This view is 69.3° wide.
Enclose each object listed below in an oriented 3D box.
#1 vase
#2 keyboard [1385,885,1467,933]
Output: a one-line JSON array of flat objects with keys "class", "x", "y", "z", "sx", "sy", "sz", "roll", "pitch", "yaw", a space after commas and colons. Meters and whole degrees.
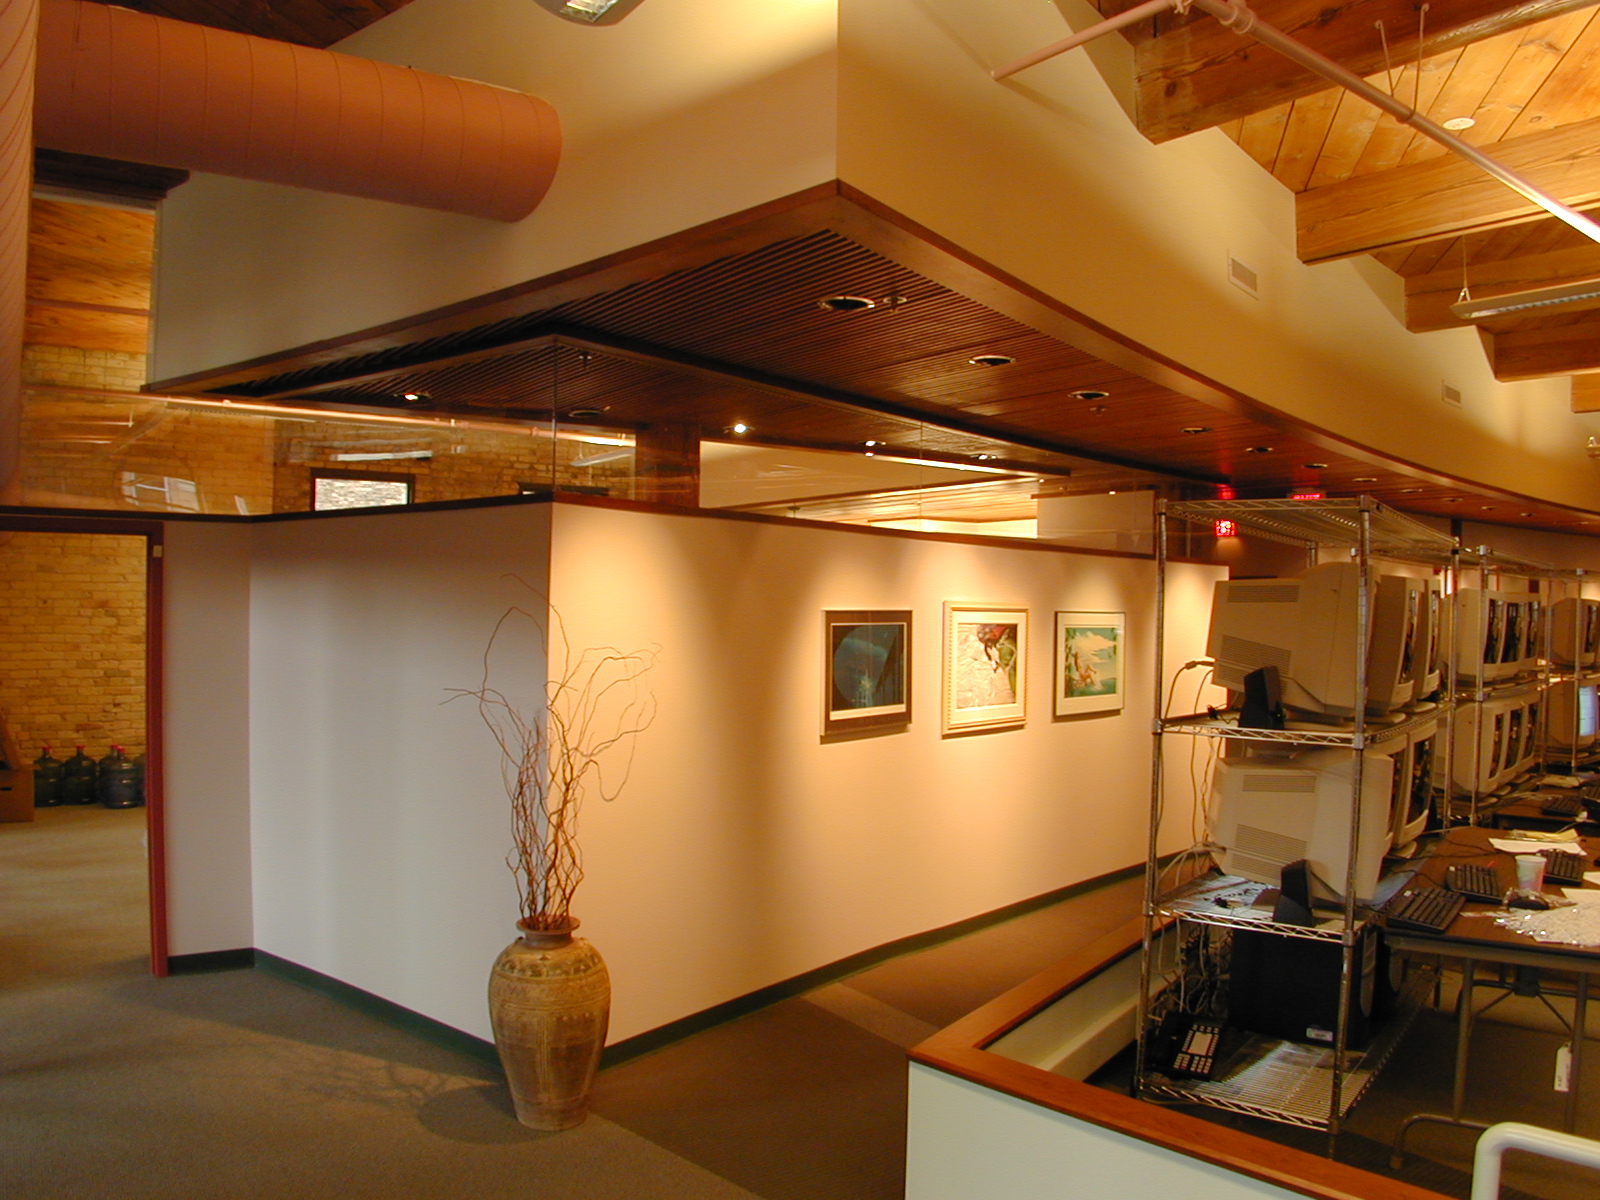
[{"class": "vase", "x": -1.123, "y": 1.906, "z": 5.224, "sx": 0.506, "sy": 0.860, "sz": 0.309, "roll": -1, "pitch": 7, "yaw": -15}, {"class": "keyboard", "x": 2.759, "y": 1.351, "z": 5.107, "sx": 0.286, "sy": 0.088, "sz": 0.767, "roll": 4, "pitch": 7, "yaw": 31}]
